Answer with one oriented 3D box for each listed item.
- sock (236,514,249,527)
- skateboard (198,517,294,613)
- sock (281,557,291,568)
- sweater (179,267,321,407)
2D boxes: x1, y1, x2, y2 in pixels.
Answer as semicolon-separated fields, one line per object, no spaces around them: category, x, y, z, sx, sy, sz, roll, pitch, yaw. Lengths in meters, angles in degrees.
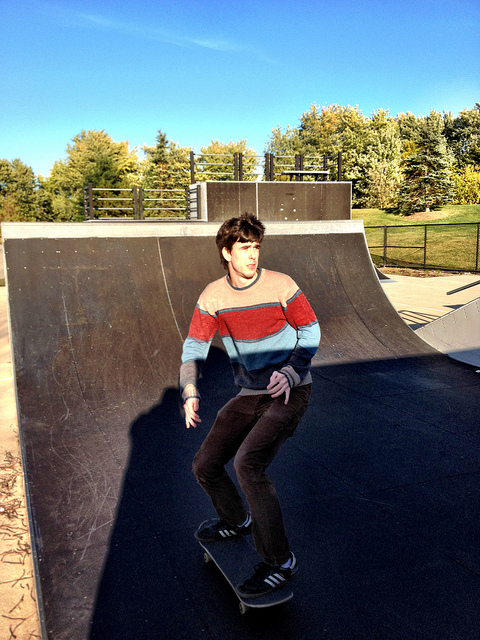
sock;0.017;0.886;2.212;0.041;0.011;0.043;-38;-3;41
skateboard;-0.006;0.982;2.029;0.144;0.100;0.565;-7;4;-16
sock;0.177;0.913;1.874;0.022;0.036;0.034;0;-8;-8
sweater;0.102;0.133;2.223;0.568;0.591;0.562;-7;9;27
